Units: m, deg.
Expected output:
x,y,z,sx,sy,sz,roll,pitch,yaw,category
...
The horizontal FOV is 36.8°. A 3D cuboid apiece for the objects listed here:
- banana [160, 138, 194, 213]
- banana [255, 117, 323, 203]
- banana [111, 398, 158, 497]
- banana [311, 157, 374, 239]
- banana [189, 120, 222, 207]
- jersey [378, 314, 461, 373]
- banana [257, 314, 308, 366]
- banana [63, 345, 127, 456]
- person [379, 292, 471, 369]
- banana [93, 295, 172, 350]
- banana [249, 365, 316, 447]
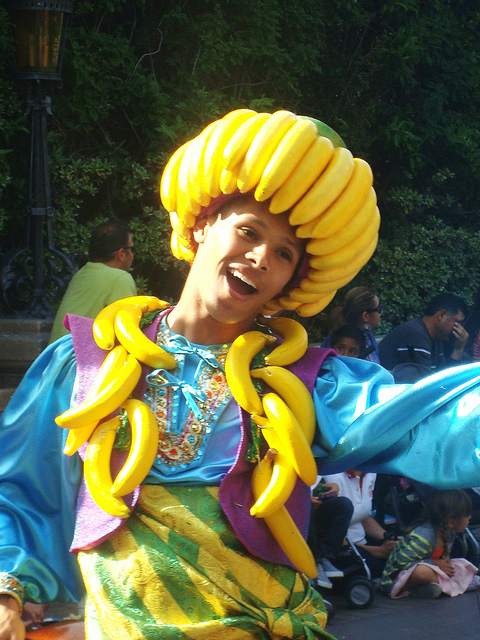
x,y,z,sx,sy,sz,roll,pitch,yaw,category
-0.157,-0.326,1.634,0.053,0.140,0.120,18,-17,-10,banana
0.090,-0.317,1.442,0.062,0.171,0.105,24,18,8,banana
-0.207,0.240,1.364,0.080,0.138,0.187,16,16,-11,banana
0.184,-0.302,1.492,0.087,0.138,0.266,14,57,13,banana
-0.082,-0.337,1.519,0.054,0.147,0.132,7,-4,4,banana
1.319,0.158,4.871,0.573,0.313,0.423,6,20,33,jersey
0.094,0.036,1.578,0.119,0.043,0.173,-6,33,-7,banana
-0.284,0.164,1.428,0.060,0.260,0.086,41,-21,0,banana
1.407,0.081,5.568,0.512,0.664,0.543,26,9,7,person
-0.262,-0.006,1.603,0.109,0.037,0.186,27,43,20,banana
0.101,0.169,1.511,0.157,0.135,0.159,8,12,30,banana
